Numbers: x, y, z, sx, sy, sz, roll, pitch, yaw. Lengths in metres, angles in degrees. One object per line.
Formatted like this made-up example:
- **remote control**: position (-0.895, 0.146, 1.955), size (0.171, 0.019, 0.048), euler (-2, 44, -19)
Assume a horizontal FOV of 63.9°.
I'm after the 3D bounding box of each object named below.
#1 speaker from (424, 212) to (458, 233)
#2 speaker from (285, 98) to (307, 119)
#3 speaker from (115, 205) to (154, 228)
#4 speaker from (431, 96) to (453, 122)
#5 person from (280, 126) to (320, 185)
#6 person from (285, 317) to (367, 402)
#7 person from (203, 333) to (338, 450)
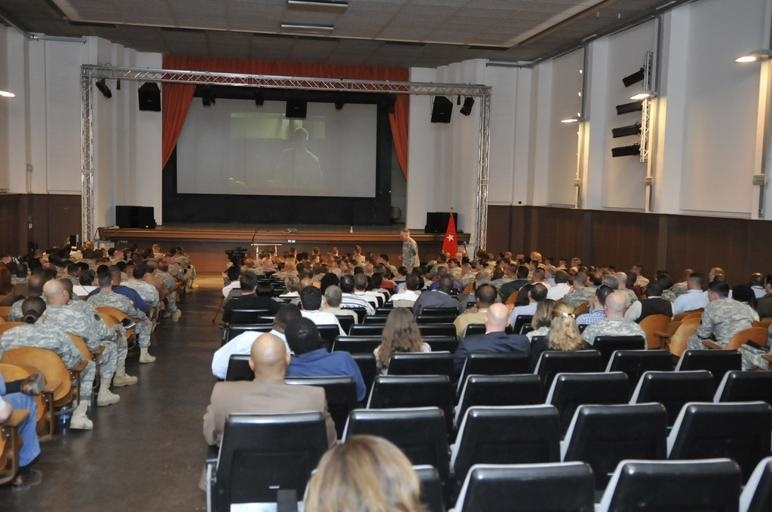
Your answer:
- **speaker**: position (1.612, -1.062, 18.961), size (1.058, 0.760, 0.602), euler (1, 7, 3)
- **speaker**: position (-2.796, -4.570, 19.164), size (0.561, 0.593, 0.385), euler (3, 8, 5)
- **speaker**: position (-7.125, -1.123, 17.596), size (1.131, 0.734, 0.608), euler (0, 5, -16)
- **speaker**: position (1.593, -4.336, 18.195), size (0.559, 0.756, 0.502), euler (-11, 11, -11)
- **person**: position (-3.020, -3.533, 21.135), size (1.572, 2.447, 0.734), euler (6, 23, 12)
- **person**: position (-0.496, 0.842, 4.951), size (0.705, 0.587, 1.668), euler (-1, -18, -2)
- **person**: position (-0.798, 0.990, 4.329), size (0.996, 0.846, 0.550), euler (1, 10, -2)
